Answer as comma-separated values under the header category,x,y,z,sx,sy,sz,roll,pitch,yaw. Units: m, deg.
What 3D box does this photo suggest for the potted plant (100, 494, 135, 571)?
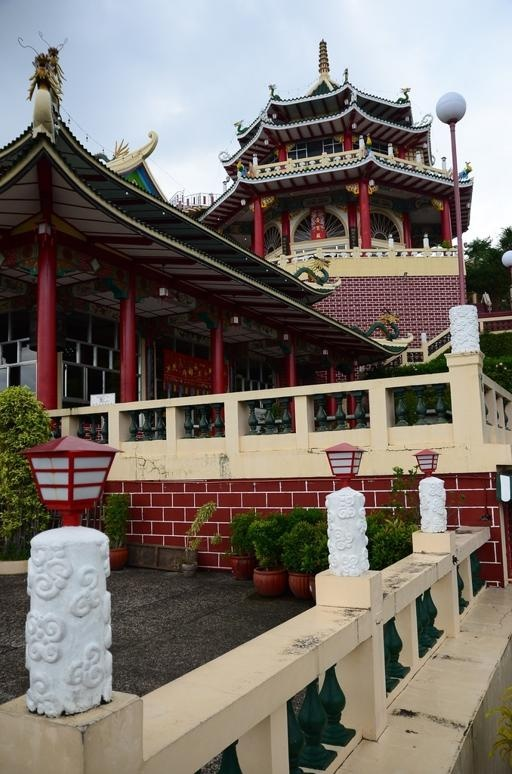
category,x,y,z,sx,sy,sz,roll,pitch,yaw
potted plant,-1.539,1.605,7.901,0.311,0.747,0.313,-2,-5,20

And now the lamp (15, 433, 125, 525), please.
category,x,y,z,sx,sy,sz,roll,pitch,yaw
lamp,-0.496,0.249,1.917,0.227,0.226,0.228,5,-10,-40

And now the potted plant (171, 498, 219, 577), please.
category,x,y,z,sx,sy,sz,roll,pitch,yaw
potted plant,-0.610,1.564,7.441,0.397,0.685,0.478,-4,-3,5

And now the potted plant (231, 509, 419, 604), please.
category,x,y,z,sx,sy,sz,roll,pitch,yaw
potted plant,0.572,1.449,6.339,1.086,0.683,2.106,-2,-4,-40
